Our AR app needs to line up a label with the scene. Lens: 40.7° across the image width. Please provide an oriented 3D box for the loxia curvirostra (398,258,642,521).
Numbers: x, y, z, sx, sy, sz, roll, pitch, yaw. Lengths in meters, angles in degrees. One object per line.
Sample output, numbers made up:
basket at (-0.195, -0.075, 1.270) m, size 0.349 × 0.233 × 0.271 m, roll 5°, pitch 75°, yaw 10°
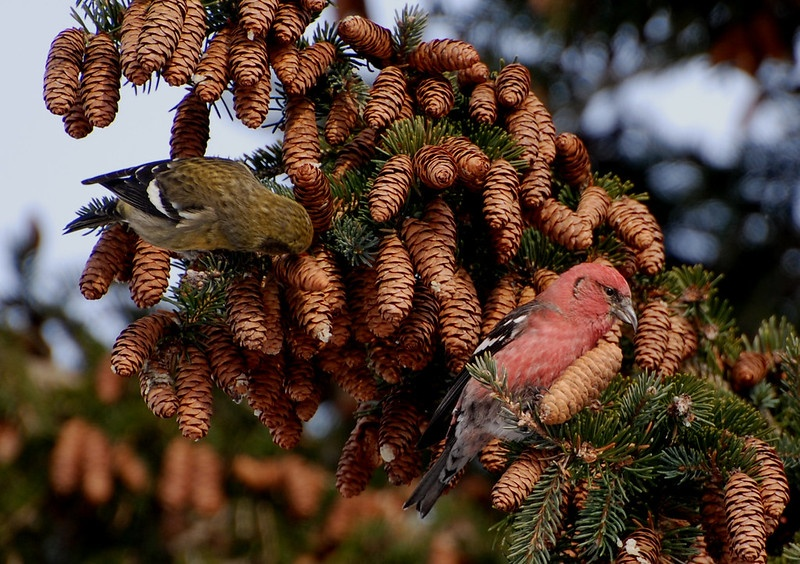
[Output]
loxia curvirostra at (0.613, 0.544, 5.854) m, size 1.599 × 0.724 × 0.549 m, roll -34°, pitch -58°, yaw 26°

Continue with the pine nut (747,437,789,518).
pine nut at (1.806, 0.953, 5.280) m, size 0.177 × 0.176 × 0.383 m, roll -3°, pitch -79°, yaw -3°
